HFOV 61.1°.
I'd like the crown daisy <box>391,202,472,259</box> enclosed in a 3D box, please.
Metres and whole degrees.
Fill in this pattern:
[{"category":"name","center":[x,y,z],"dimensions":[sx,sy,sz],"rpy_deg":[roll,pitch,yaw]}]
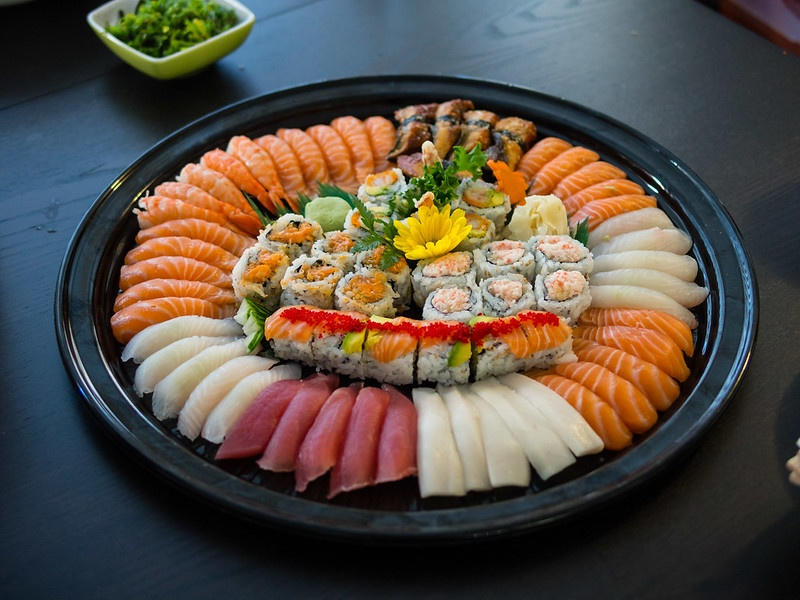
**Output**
[{"category":"crown daisy","center":[0.137,-0.300,3.027],"dimensions":[0.350,0.276,0.236],"rpy_deg":[-4,-67,2]}]
